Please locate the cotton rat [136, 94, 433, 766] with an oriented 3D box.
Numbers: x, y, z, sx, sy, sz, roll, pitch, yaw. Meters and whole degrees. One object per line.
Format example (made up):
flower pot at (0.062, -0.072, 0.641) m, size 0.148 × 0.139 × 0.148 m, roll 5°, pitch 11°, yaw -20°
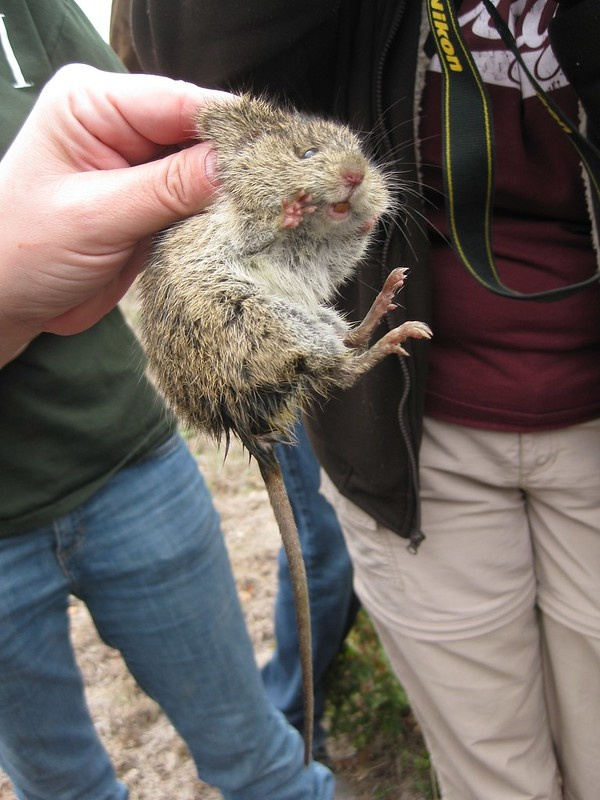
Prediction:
cotton rat at (0.042, -0.015, 1.801) m, size 0.737 × 0.516 × 1.424 m, roll -21°, pitch 78°, yaw 14°
